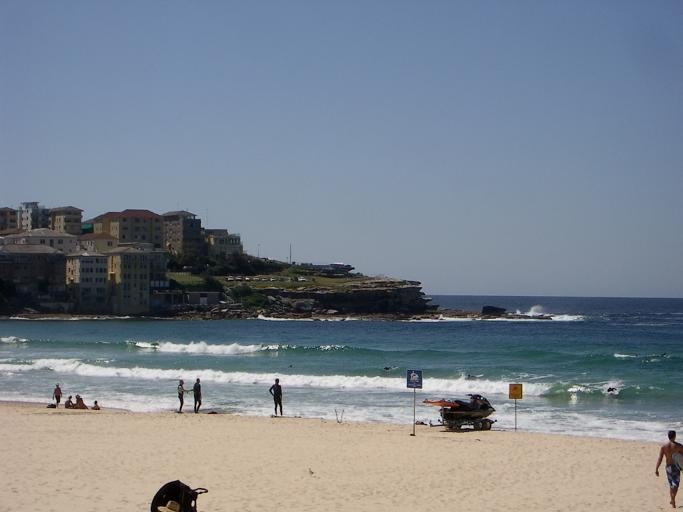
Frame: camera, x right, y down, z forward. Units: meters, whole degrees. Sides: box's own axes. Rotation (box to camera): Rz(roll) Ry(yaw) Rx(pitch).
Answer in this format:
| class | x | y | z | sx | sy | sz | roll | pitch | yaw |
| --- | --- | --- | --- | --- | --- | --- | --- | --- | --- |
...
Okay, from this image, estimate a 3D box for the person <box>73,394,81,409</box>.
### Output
| class | x | y | z | sx | sy | sz | roll | pitch | yaw |
| --- | --- | --- | --- | --- | --- | --- | --- | --- | --- |
| person | -13.361 | 7.329 | 50.710 | 0.259 | 0.705 | 0.558 | -3 | -9 | 11 |
